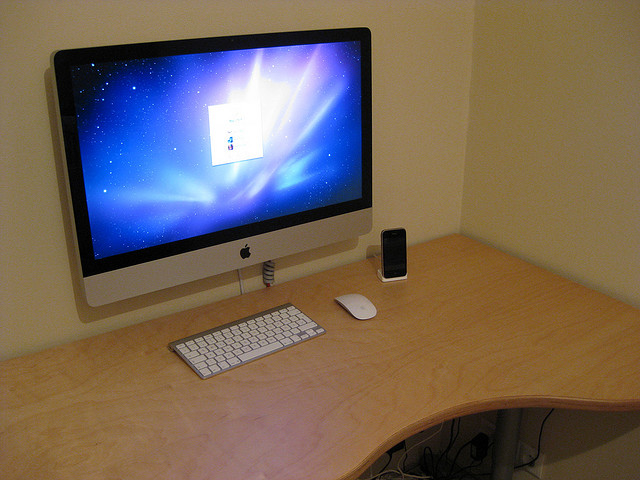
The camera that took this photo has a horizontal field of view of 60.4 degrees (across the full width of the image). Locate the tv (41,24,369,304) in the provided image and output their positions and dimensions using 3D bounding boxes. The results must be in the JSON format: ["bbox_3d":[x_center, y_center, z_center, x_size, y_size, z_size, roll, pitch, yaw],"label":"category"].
[{"bbox_3d":[-0.321,-0.230,1.460,0.795,0.556,0.078,-17,20,-27],"label":"tv"}]

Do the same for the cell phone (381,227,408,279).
[{"bbox_3d":[0.241,0.045,1.784,0.078,0.143,0.100,-2,29,4],"label":"cell phone"}]
